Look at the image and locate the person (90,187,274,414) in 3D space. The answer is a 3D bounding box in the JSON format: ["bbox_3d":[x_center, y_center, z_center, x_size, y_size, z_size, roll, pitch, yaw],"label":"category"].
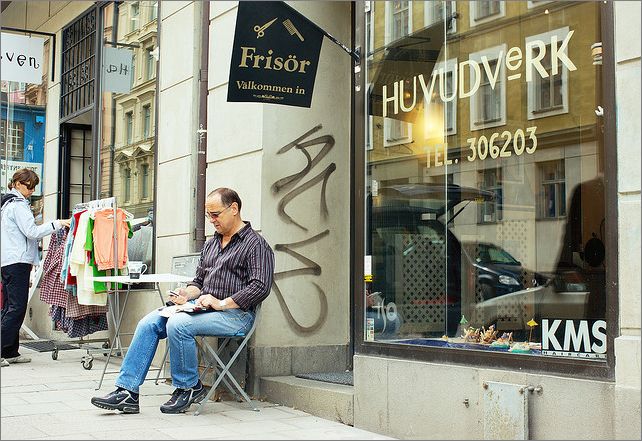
[{"bbox_3d":[-1.146,0.734,6.520,1.375,2.063,0.462,2,-6,-8],"label":"person"}]

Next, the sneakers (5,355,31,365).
[{"bbox_3d":[-3.813,1.762,8.901,0.261,0.115,0.096,-1,4,-26],"label":"sneakers"}]

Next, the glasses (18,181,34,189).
[{"bbox_3d":[-3.762,-0.439,9.030,0.122,0.044,0.117,-4,-6,42],"label":"glasses"}]

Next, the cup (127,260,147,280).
[{"bbox_3d":[-2.088,0.570,7.990,0.234,0.185,0.151,10,-17,-34],"label":"cup"}]

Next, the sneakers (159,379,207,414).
[{"bbox_3d":[-1.240,1.600,6.476,0.488,0.254,0.176,-24,12,-36],"label":"sneakers"}]

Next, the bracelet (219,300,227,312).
[{"bbox_3d":[-0.882,0.780,6.389,0.052,0.089,0.082,1,29,-6],"label":"bracelet"}]
